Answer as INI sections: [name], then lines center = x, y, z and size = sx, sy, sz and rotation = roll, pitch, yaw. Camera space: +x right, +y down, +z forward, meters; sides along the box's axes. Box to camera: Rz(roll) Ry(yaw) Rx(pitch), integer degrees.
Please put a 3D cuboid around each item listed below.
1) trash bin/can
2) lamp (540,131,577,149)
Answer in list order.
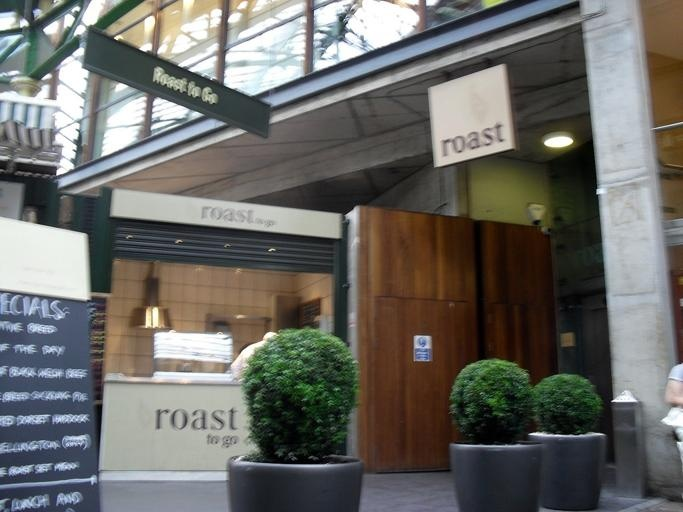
[trash bin/can]
center = 2.515, 1.635, 5.676
size = 0.271, 0.901, 0.163
rotation = -6, -12, 19
[lamp]
center = 3.034, -1.599, 9.105
size = 0.425, 0.124, 0.664
rotation = -5, -11, 21
